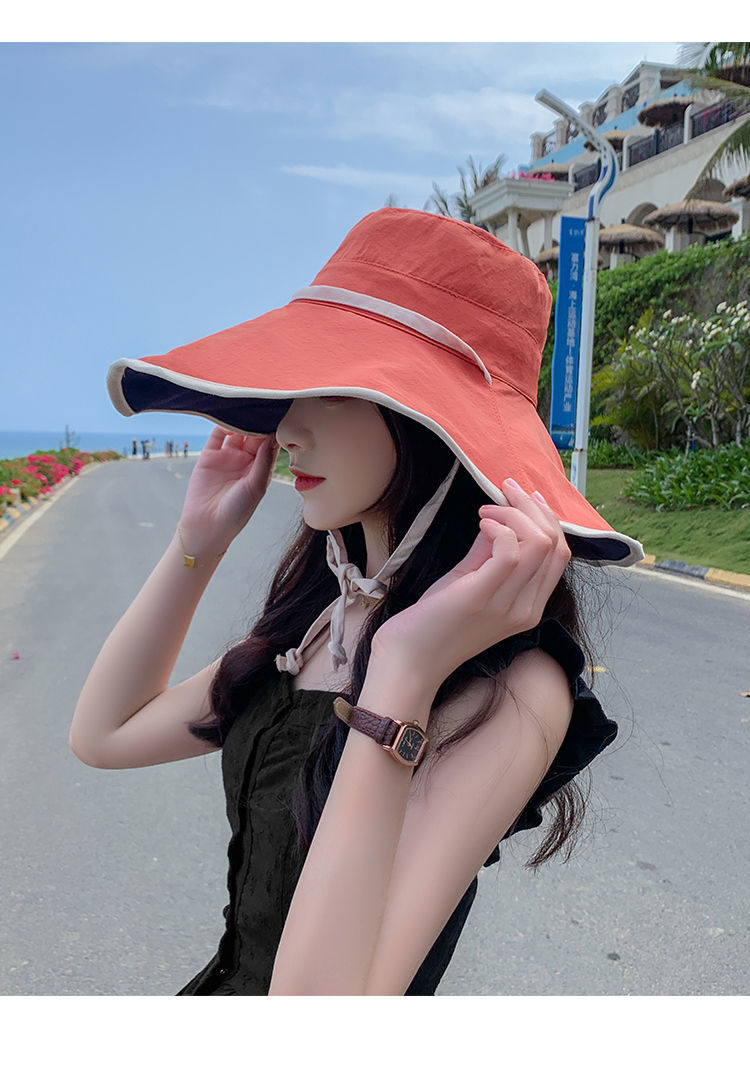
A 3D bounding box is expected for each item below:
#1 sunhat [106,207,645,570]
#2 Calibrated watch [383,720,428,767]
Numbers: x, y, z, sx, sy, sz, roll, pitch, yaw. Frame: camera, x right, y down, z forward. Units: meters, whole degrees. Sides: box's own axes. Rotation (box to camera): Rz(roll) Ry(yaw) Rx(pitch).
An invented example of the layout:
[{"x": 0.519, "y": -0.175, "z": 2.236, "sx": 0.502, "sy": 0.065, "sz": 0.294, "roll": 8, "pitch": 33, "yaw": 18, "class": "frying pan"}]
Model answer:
[{"x": 0.109, "y": -0.300, "z": 1.278, "sx": 0.710, "sy": 0.311, "sz": 0.563, "roll": 11, "pitch": 26, "yaw": -2, "class": "sunhat"}, {"x": 0.030, "y": 0.226, "z": 0.935, "sx": 0.042, "sy": 0.050, "sz": 0.032, "roll": -1, "pitch": 53, "yaw": 45, "class": "Calibrated watch"}]
